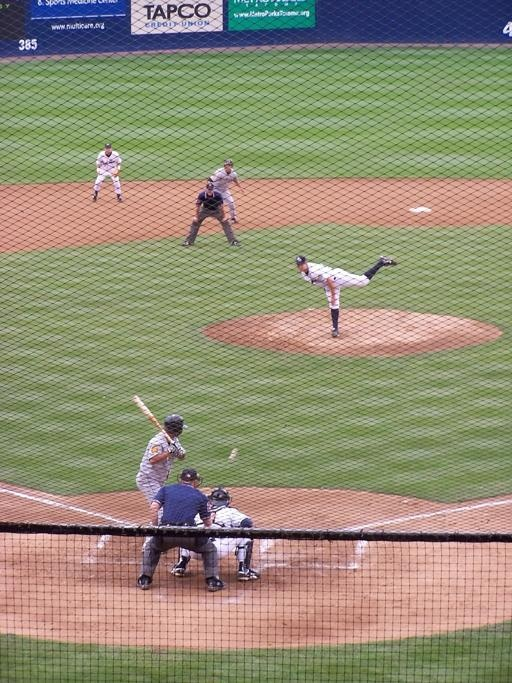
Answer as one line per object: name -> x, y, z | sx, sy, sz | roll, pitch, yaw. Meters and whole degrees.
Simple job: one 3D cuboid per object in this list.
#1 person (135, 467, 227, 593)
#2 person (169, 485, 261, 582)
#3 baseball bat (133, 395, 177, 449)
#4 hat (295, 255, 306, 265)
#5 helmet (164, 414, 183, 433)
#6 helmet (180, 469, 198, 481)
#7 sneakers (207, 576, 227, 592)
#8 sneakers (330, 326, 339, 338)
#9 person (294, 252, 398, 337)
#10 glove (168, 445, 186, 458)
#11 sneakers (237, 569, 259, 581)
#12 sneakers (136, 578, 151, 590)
person -> -0.767, 1.844, 14.211 | 0.822, 1.083, 0.904 | -2, 9, -5
person -> -0.440, 1.893, 14.266 | 1.228, 0.972, 0.663 | 3, 0, 14
baseball bat -> -1.208, 0.957, 17.154 | 0.882, 0.102, 0.094 | 40, 54, 9
hat -> 0.595, -1.144, 20.886 | 0.234, 0.088, 0.278 | -3, 10, 1
helmet -> -0.837, 0.846, 15.240 | 0.175, 0.171, 0.177 | 15, 12, -18
helmet -> -0.688, 1.315, 14.521 | 0.136, 0.121, 0.133 | 9, 18, -9
sneakers -> -0.416, 2.330, 14.181 | 0.090, 0.131, 0.226 | 4, 10, 35
sneakers -> 1.105, -0.134, 21.269 | 0.070, 0.113, 0.177 | 1, 21, 7
person -> 1.288, -0.719, 21.797 | 1.250, 1.164, 2.049 | 0, 8, 6
glove -> -0.842, 1.132, 15.144 | 0.156, 0.055, 0.114 | 19, 2, 30
sneakers -> -0.107, 2.258, 14.335 | 0.230, 0.081, 0.089 | 0, -13, -3
sneakers -> -1.086, 2.300, 14.129 | 0.136, 0.121, 0.144 | -2, 8, -6
